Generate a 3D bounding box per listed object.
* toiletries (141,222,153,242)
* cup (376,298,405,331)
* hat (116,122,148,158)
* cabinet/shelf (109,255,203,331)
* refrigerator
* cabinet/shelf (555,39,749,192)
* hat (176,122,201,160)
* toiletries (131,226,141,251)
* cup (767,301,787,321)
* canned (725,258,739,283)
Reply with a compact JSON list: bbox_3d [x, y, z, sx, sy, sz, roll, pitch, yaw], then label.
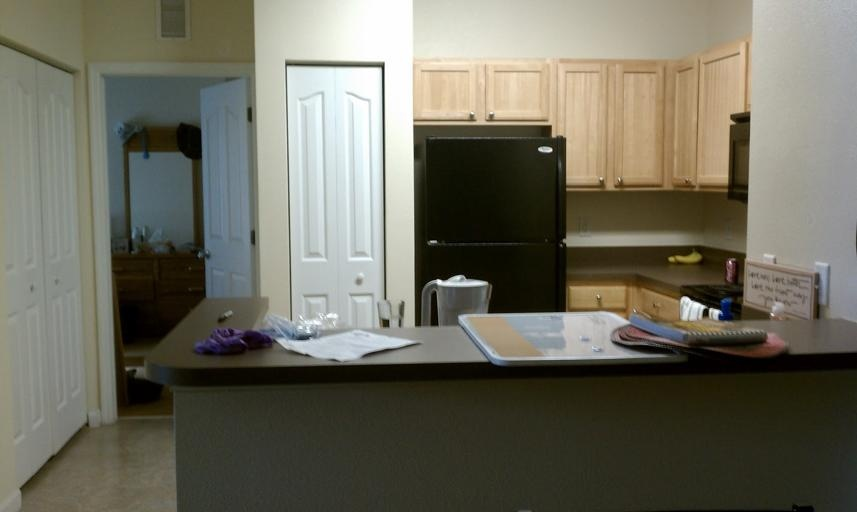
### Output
[{"bbox_3d":[-3.160,-0.270,7.279,0.102,0.161,0.177,-5,11,-17],"label":"toiletries"},{"bbox_3d":[-0.182,0.287,3.197,0.149,0.173,0.147,1,8,0],"label":"cup"},{"bbox_3d":[-3.241,-1.317,7.248,0.346,0.442,0.309,13,20,6],"label":"hat"},{"bbox_3d":[-2.763,0.324,6.526,0.846,0.759,0.295,0,0,-9],"label":"cabinet/shelf"},{"bbox_3d":[0.413,-0.270,5.705,1.272,1.787,1.255,1,2,1],"label":"refrigerator"},{"bbox_3d":[1.726,-1.077,5.181,1.971,1.278,0.983,0,4,0],"label":"cabinet/shelf"},{"bbox_3d":[-2.648,-1.270,7.200,0.349,0.420,0.179,1,11,13],"label":"hat"},{"bbox_3d":[-3.222,-0.189,7.149,0.125,0.237,0.311,-6,12,-23],"label":"toiletries"},{"bbox_3d":[1.877,0.296,3.475,0.092,0.101,0.090,-1,0,0],"label":"cup"},{"bbox_3d":[2.198,0.111,4.693,0.069,0.179,0.218,2,12,20],"label":"canned"}]
